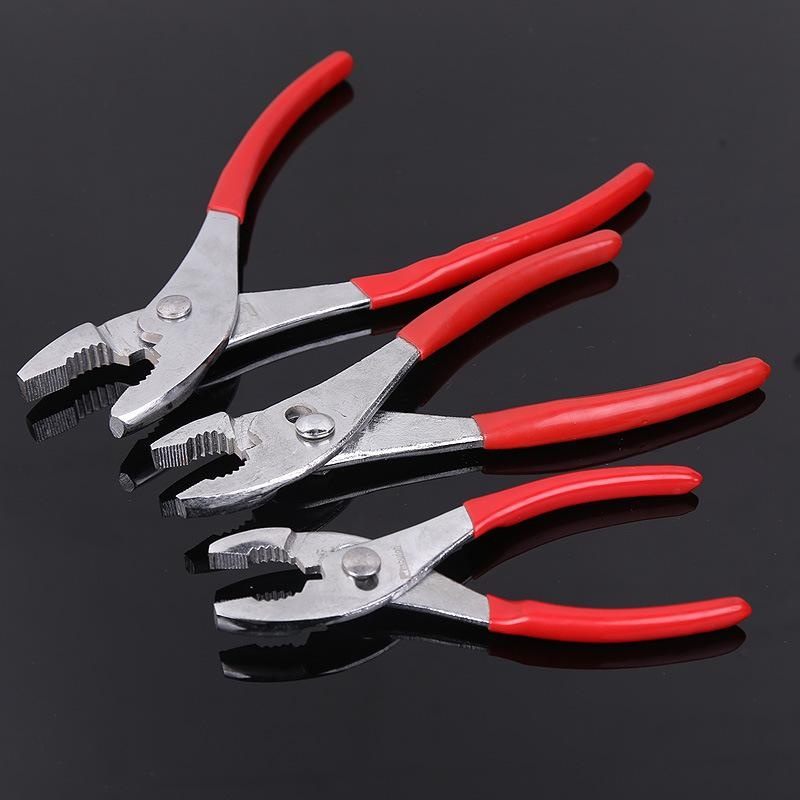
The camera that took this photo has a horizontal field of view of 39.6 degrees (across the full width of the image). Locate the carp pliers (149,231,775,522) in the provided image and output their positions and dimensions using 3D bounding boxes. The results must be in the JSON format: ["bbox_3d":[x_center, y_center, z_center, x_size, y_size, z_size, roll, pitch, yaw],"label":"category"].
[{"bbox_3d":[0.127,-0.004,1.663,0.932,0.075,0.378,-13,47,-15],"label":"carp pliers"}]
